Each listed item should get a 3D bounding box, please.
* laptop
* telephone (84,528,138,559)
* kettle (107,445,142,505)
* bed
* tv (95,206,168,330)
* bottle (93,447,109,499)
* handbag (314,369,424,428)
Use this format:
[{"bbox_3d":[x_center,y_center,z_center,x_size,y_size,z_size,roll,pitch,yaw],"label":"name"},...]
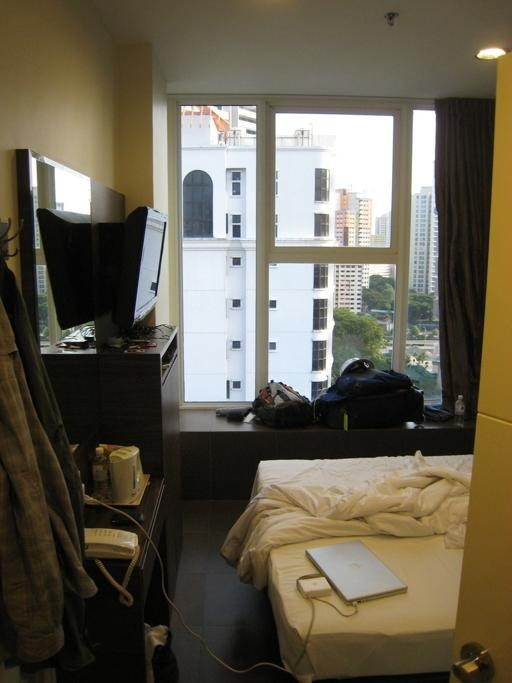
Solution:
[{"bbox_3d":[0.334,0.783,2.036,0.241,0.038,0.320,-7,15,-16],"label":"laptop"},{"bbox_3d":[-0.408,0.568,1.671,0.101,0.030,0.080,3,8,-3],"label":"telephone"},{"bbox_3d":[-0.445,0.454,2.032,0.088,0.169,0.168,2,16,12],"label":"kettle"},{"bbox_3d":[0.381,0.900,2.202,0.805,0.207,0.874,-2,22,-2],"label":"bed"},{"bbox_3d":[-0.574,-0.220,2.497,0.080,0.506,0.664,9,-13,-18],"label":"tv"},{"bbox_3d":[-0.523,0.414,1.996,0.045,0.152,0.047,5,36,-3],"label":"bottle"},{"bbox_3d":[0.719,0.376,3.652,0.451,0.276,0.392,-2,5,-7],"label":"handbag"}]
